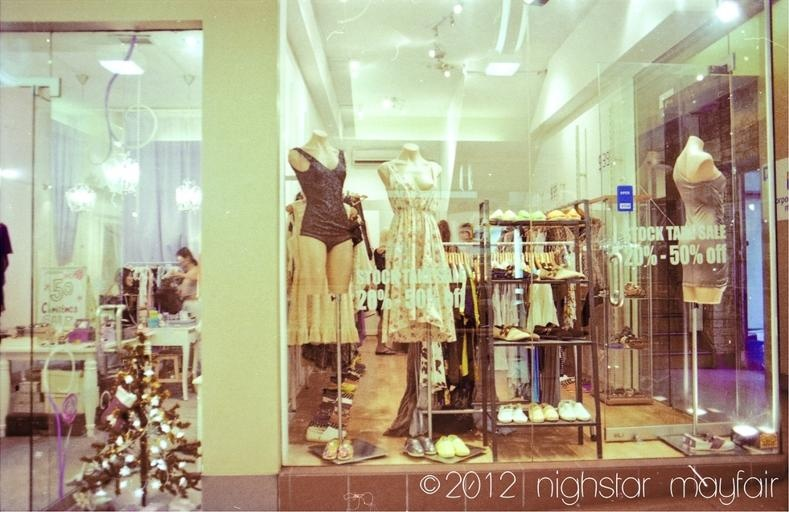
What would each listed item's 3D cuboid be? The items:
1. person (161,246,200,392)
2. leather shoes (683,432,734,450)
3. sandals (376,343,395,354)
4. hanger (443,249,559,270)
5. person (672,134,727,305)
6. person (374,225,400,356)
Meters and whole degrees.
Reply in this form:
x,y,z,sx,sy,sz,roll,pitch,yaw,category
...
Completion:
x,y,z,sx,sy,sz,roll,pitch,yaw,category
-1.727,0.460,5.026,0.281,1.060,0.122,0,-8,-16,person
2.651,1.558,5.198,0.260,0.075,0.179,-1,-1,-3,leather shoes
-0.071,0.766,5.150,0.103,0.098,0.035,3,0,-2,sandals
0.931,0.016,5.203,0.985,0.197,0.064,0,-8,-14,hanger
2.657,-0.322,5.315,0.394,1.423,0.223,-5,-8,21,person
-0.073,0.302,5.097,0.168,1.021,0.162,-2,-7,-2,person
